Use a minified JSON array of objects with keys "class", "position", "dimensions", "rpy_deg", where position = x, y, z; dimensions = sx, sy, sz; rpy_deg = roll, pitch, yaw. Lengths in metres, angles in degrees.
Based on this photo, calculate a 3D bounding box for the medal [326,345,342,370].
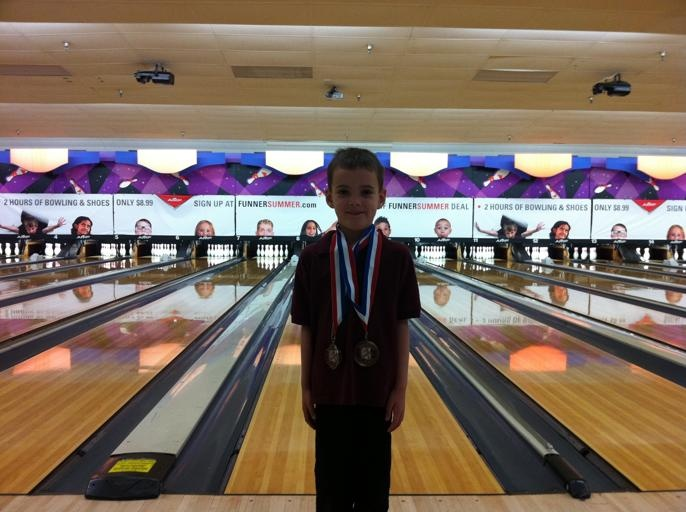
[{"class":"medal","position":[-0.043,0.464,2.468],"dimensions":[0.068,0.121,0.019],"rpy_deg":[0,4,-2]}]
